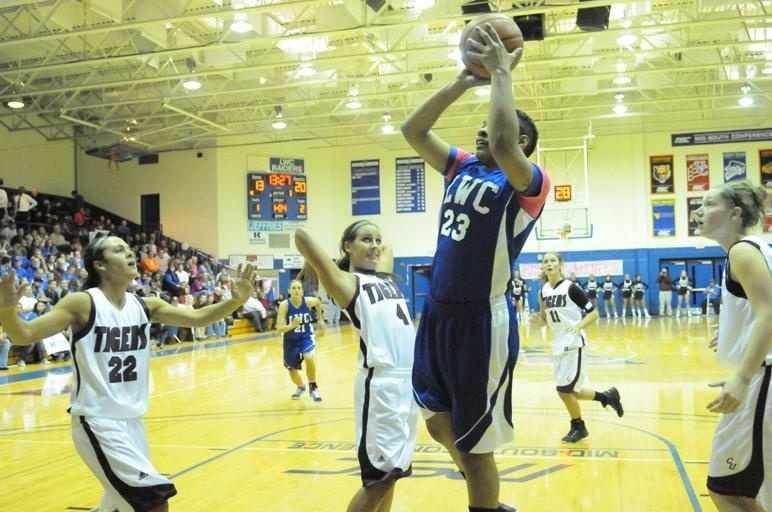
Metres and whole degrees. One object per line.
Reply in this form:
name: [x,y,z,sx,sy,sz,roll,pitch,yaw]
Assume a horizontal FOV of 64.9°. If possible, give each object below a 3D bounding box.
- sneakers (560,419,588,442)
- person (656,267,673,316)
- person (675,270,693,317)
sneakers: [2.033,1.885,6.596,0.137,0.221,0.417,-5,-8,37]
person: [9.682,1.263,21.122,0.485,1.700,0.985,0,2,24]
person: [10.225,1.294,20.913,0.474,1.546,1.085,0,3,27]
